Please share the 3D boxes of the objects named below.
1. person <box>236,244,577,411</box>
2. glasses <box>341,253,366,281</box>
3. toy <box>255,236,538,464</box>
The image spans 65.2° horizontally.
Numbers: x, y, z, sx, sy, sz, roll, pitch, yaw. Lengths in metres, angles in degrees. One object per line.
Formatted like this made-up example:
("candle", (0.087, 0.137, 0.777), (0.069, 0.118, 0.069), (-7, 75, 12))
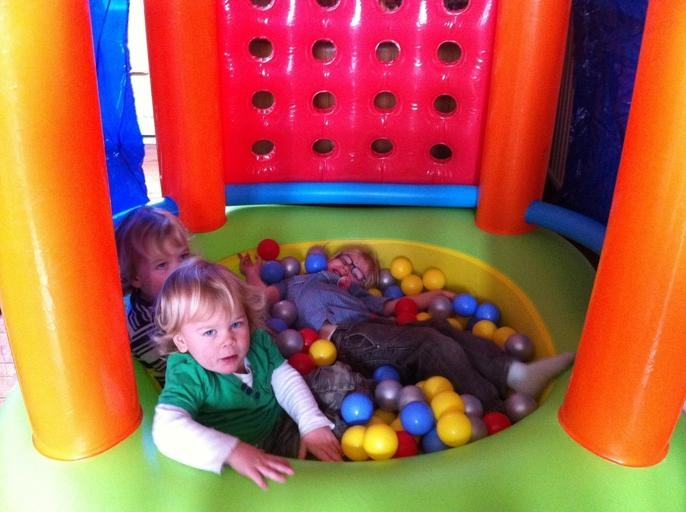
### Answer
("person", (0.190, 0.226, 1.948), (1.067, 0.518, 0.569), (5, 71, 30))
("glasses", (0.040, 0.048, 2.145), (0.068, 0.031, 0.076), (-24, 78, -22))
("toy", (0.185, 0.259, 1.810), (0.583, 0.276, 0.523), (26, 35, 37))
